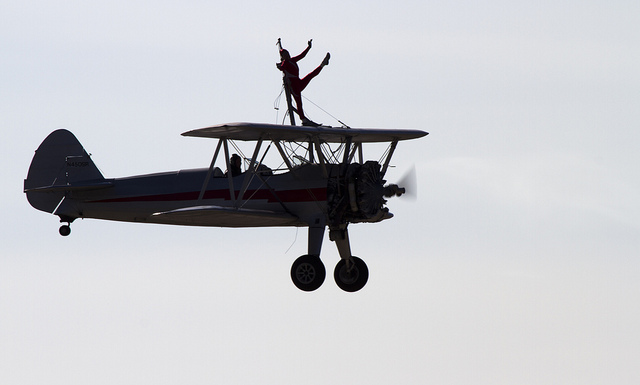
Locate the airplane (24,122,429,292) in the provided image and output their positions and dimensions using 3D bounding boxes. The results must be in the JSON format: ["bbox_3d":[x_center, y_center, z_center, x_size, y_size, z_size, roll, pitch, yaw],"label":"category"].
[{"bbox_3d":[-3.317,0.147,37.271,10.239,9.878,3.999,5,-78,6],"label":"airplane"}]
